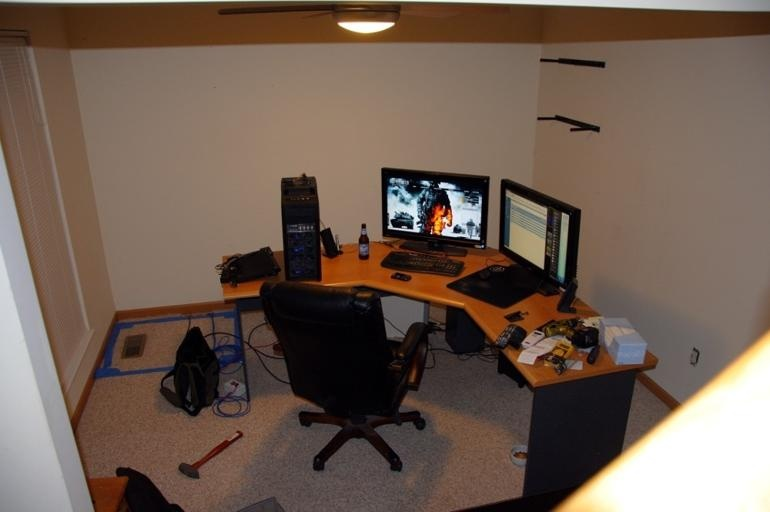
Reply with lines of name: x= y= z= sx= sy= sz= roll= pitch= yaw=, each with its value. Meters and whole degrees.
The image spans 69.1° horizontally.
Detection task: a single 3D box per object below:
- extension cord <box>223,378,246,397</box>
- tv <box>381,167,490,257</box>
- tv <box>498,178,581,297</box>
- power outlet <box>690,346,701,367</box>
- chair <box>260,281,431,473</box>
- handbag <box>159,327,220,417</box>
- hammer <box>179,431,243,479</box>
extension cord: x=-0.996 y=0.890 z=3.706 sx=0.101 sy=0.025 sz=0.099 roll=16 pitch=26 yaw=11
tv: x=0.317 y=-0.271 z=3.612 sx=0.541 sy=0.396 sz=0.142 roll=8 pitch=30 yaw=16
tv: x=0.877 y=-0.082 z=3.203 sx=0.095 sy=0.533 sz=0.715 roll=-9 pitch=26 yaw=-18
power outlet: x=1.773 y=0.583 z=3.206 sx=0.025 sy=0.086 sz=0.054 roll=4 pitch=2 yaw=-16
chair: x=-0.210 y=0.689 z=2.956 sx=0.675 sy=0.923 sz=0.782 roll=8 pitch=26 yaw=19
handbag: x=-1.271 y=0.783 z=3.632 sx=0.241 sy=0.419 sz=0.395 roll=-3 pitch=21 yaw=-10
hammer: x=-0.991 y=1.137 z=3.186 sx=0.119 sy=0.047 sz=0.306 roll=6 pitch=23 yaw=29
